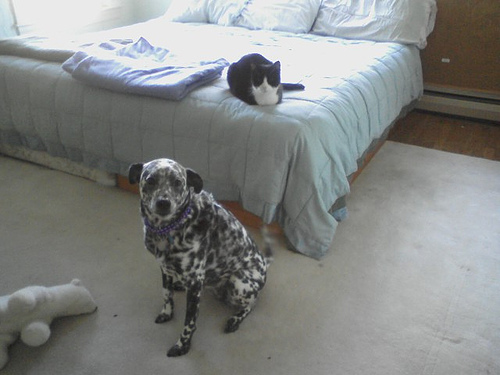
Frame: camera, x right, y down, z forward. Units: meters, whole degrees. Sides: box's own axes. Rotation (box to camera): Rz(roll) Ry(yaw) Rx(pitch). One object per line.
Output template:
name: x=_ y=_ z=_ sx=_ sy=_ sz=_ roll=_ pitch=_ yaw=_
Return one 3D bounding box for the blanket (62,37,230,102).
blanket: x=-0.794 y=-0.898 z=3.104 sx=0.966 sy=0.201 sz=1.017 roll=14 pitch=31 yaw=7

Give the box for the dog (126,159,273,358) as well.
dog: x=-0.224 y=0.249 z=2.241 sx=0.440 sy=1.037 sz=0.956 roll=19 pitch=29 yaw=31

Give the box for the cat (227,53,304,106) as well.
cat: x=0.030 y=-0.665 z=2.754 sx=0.328 sy=0.217 sz=0.427 roll=-3 pitch=34 yaw=-5
